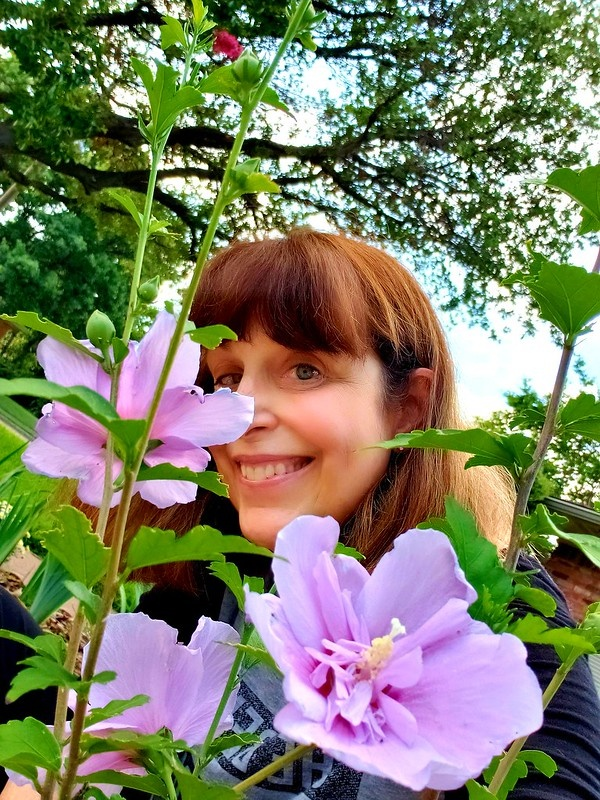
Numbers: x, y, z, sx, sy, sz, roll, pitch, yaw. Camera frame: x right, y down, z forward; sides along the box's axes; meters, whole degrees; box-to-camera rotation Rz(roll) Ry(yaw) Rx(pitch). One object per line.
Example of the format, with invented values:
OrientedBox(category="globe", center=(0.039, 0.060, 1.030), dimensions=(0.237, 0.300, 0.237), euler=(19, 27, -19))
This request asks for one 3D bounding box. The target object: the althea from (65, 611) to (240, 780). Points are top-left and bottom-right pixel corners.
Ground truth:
OrientedBox(category="althea", center=(-0.090, 0.221, 0.471), dimensions=(0.073, 0.121, 0.135), euler=(20, 1, 0))

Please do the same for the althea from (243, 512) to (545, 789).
OrientedBox(category="althea", center=(0.037, 0.113, 0.310), dimensions=(0.113, 0.116, 0.134), euler=(15, 6, -15))
